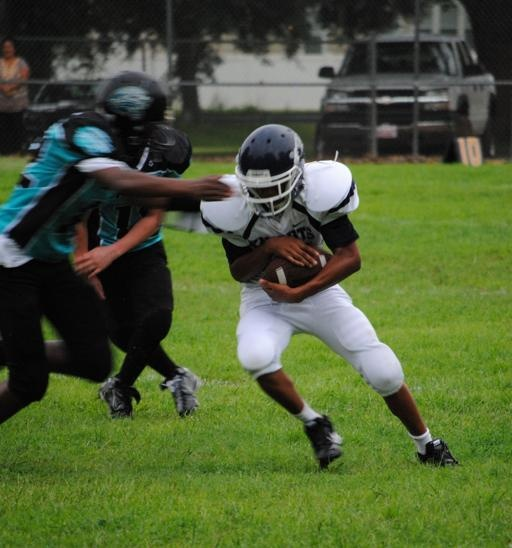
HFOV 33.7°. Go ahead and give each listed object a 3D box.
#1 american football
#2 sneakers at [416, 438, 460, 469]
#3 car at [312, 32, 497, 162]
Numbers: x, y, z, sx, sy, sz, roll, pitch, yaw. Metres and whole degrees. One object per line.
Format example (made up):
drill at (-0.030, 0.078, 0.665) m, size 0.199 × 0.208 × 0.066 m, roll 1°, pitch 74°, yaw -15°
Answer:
american football at (0.185, -0.031, 3.866) m, size 0.266 × 0.126 × 0.147 m, roll -8°, pitch -27°, yaw -13°
sneakers at (0.822, 0.811, 3.801) m, size 0.182 × 0.114 × 0.099 m, roll 1°, pitch 15°, yaw 9°
car at (1.683, -2.033, 9.242) m, size 1.573 × 0.857 × 2.271 m, roll 2°, pitch 7°, yaw 18°
